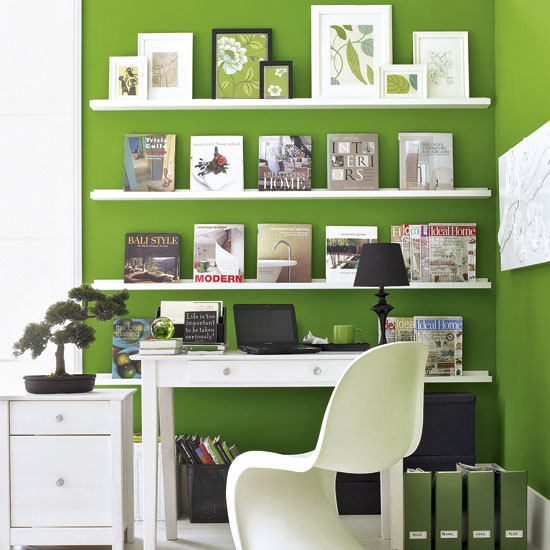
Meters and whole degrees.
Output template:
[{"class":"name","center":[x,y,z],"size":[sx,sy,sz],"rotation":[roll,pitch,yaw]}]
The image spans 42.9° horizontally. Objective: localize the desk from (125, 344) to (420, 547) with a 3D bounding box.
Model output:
[{"class":"desk","center":[-0.029,0.785,3.127],"size":[0.793,0.744,0.351],"rotation":[0,-6,-8]}]

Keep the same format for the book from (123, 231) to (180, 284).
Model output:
[{"class":"book","center":[-0.684,-0.088,3.882],"size":[0.223,0.261,0.026],"rotation":[0,-11,-1]}]

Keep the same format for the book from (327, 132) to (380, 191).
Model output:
[{"class":"book","center":[0.429,-0.627,3.911],"size":[0.257,0.344,0.040],"rotation":[0,-6,-2]}]

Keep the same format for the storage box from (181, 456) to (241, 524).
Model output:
[{"class":"storage box","center":[-0.336,1.090,3.702],"size":[0.298,0.362,0.247],"rotation":[1,-2,1]}]

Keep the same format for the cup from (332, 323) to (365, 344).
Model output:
[{"class":"cup","center":[0.358,0.292,3.448],"size":[0.152,0.123,0.108],"rotation":[0,-3,0]}]

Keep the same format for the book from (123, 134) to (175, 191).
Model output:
[{"class":"book","center":[-0.706,-0.623,3.911],"size":[0.252,0.345,0.024],"rotation":[0,-2,1]}]

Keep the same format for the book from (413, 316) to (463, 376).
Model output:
[{"class":"book","center":[0.839,0.377,3.629],"size":[0.253,0.424,0.041],"rotation":[1,-6,-5]}]

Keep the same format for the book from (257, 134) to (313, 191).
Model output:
[{"class":"book","center":[0.052,-0.626,3.912],"size":[0.250,0.302,0.028],"rotation":[0,-8,-2]}]

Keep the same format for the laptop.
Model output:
[{"class":"laptop","center":[-0.020,0.255,3.376],"size":[0.265,0.214,0.259],"rotation":[1,-5,-25]}]

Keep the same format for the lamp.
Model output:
[{"class":"lamp","center":[0.524,0.087,3.410],"size":[0.272,0.491,0.218],"rotation":[-9,9,-44]}]
